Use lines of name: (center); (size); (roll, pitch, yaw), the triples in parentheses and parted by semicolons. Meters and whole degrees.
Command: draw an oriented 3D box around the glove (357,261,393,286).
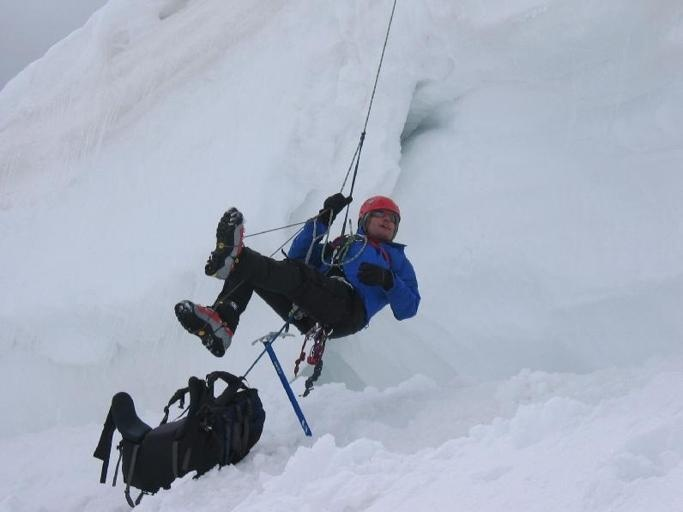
glove: (0.358, 0.203, 9.355); (0.385, 0.312, 0.145); (-8, -13, -38)

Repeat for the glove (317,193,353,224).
glove: (-0.052, -0.489, 9.832); (0.330, 0.332, 0.130); (-44, -24, 14)
